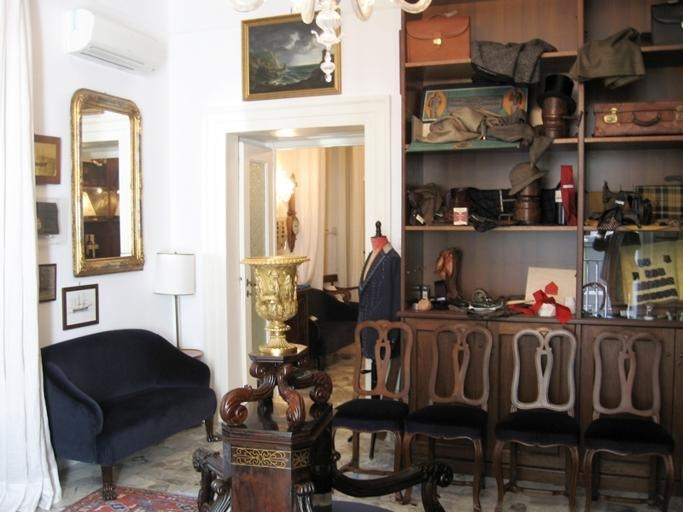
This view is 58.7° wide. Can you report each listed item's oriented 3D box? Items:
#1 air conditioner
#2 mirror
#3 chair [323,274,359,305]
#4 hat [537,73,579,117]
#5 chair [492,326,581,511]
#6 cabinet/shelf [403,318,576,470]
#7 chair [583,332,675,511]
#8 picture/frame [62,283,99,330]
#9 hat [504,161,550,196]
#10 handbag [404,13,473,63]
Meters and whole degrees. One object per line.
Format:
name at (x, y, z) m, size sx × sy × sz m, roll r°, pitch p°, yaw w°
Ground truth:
air conditioner at (-1.889, -1.781, 5.091) m, size 0.278 × 0.394 × 0.818 m, roll -1°, pitch 2°, yaw 28°
mirror at (-1.986, -0.606, 5.147) m, size 0.088 × 1.358 × 0.711 m, roll -1°, pitch 2°, yaw 28°
chair at (0.022, 0.459, 8.722) m, size 0.390 × 0.623 × 0.446 m, roll 2°, pitch 5°, yaw 42°
hat at (1.647, -1.175, 4.647) m, size 0.281 × 0.207 × 0.307 m, roll 13°, pitch -1°, yaw 5°
chair at (1.380, 1.137, 4.282) m, size 0.550 × 1.197 × 0.650 m, roll -1°, pitch 1°, yaw 21°
cabinet/shelf at (1.133, 1.000, 4.446) m, size 1.015 × 1.060 × 0.418 m, roll 1°, pitch -11°, yaw 20°
chair at (1.960, 1.117, 4.128) m, size 0.515 × 1.145 × 0.664 m, roll -1°, pitch 2°, yaw 29°
picture/frame at (-2.123, 0.403, 4.893) m, size 0.023 × 0.387 × 0.368 m, roll 3°, pitch 2°, yaw 25°
hat at (1.410, -0.594, 4.612) m, size 0.256 × 0.251 × 0.232 m, roll -2°, pitch 2°, yaw 16°
handbag at (0.747, -1.667, 4.704) m, size 0.435 × 0.368 × 0.163 m, roll -1°, pitch 1°, yaw 19°
